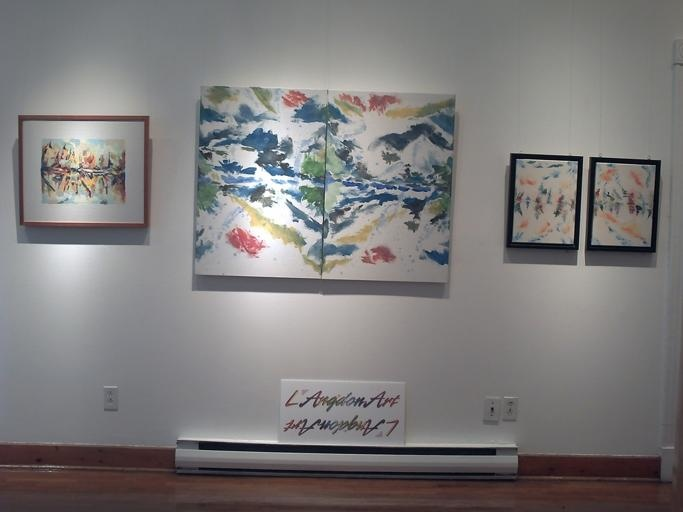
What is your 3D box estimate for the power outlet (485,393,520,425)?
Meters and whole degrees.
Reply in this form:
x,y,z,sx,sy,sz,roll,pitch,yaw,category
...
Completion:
x,y,z,sx,sy,sz,roll,pitch,yaw,category
0.875,0.839,3.524,0.163,0.139,0.023,1,-3,-1,power outlet
